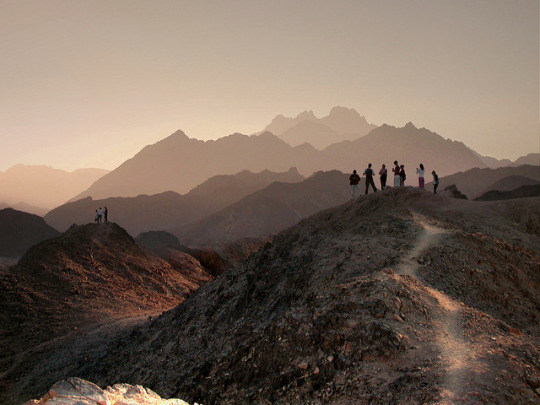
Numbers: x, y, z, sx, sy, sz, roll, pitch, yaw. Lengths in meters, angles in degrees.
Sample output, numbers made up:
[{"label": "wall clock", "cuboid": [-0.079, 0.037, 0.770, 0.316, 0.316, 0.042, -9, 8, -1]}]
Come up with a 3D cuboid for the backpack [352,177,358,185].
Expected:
[{"label": "backpack", "cuboid": [5.939, -1.504, 31.672, 0.499, 0.662, 0.335, -1, 4, 1]}]
